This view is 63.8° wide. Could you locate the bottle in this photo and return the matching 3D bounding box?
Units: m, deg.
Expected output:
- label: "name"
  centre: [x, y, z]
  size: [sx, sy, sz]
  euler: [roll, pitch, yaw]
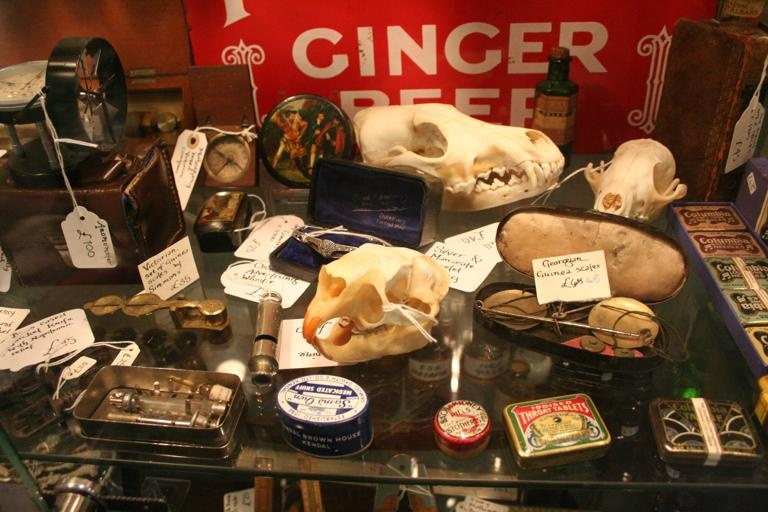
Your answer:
- label: "bottle"
  centre: [0.475, -0.417, 1.713]
  size: [0.121, 0.324, 0.147]
  euler: [6, 30, 10]
